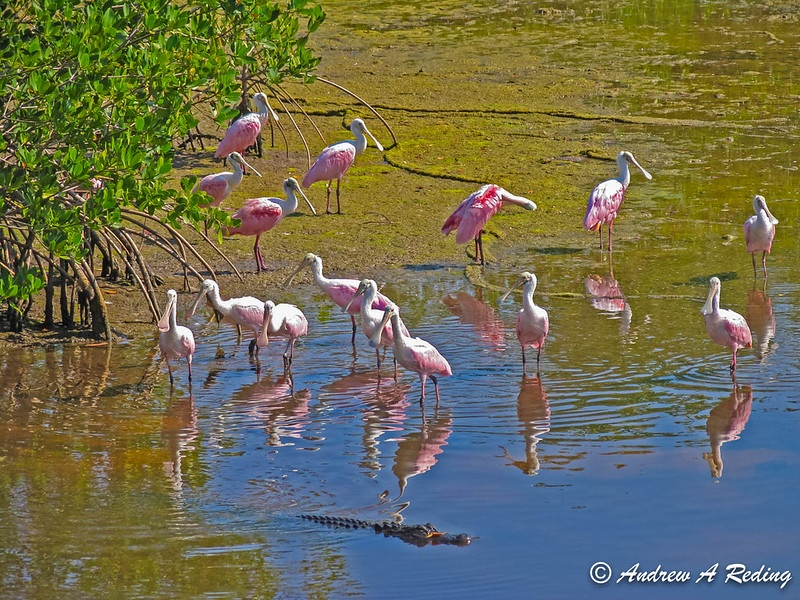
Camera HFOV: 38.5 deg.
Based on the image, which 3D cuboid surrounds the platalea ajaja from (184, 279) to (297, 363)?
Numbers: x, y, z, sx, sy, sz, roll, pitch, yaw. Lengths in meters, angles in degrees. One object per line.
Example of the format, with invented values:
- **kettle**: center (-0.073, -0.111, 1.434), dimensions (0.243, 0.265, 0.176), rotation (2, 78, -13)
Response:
- **platalea ajaja**: center (-1.689, 0.211, 15.020), dimensions (2.052, 0.696, 1.089), rotation (7, 99, 15)
